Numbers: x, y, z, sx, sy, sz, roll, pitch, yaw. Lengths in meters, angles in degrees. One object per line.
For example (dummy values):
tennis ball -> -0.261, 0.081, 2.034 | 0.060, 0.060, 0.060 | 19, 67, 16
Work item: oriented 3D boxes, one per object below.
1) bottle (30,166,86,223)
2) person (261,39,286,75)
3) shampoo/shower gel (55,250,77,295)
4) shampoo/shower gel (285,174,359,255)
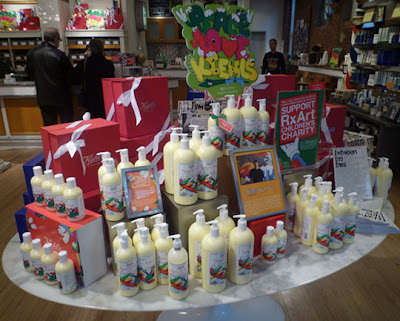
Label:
bottle -> -0.691, 0.168, 1.366 | 0.222, 0.163, 0.078 | 13, 20, 30
person -> 2.035, -2.859, 7.803 | 0.582, 0.908, 0.613 | 1, 20, 12
shampoo/shower gel -> -0.588, 0.496, 1.240 | 0.088, 0.222, 0.091 | -11, 25, -24
shampoo/shower gel -> 0.634, 0.282, 1.602 | 0.327, 0.398, 0.244 | -5, 19, -8
